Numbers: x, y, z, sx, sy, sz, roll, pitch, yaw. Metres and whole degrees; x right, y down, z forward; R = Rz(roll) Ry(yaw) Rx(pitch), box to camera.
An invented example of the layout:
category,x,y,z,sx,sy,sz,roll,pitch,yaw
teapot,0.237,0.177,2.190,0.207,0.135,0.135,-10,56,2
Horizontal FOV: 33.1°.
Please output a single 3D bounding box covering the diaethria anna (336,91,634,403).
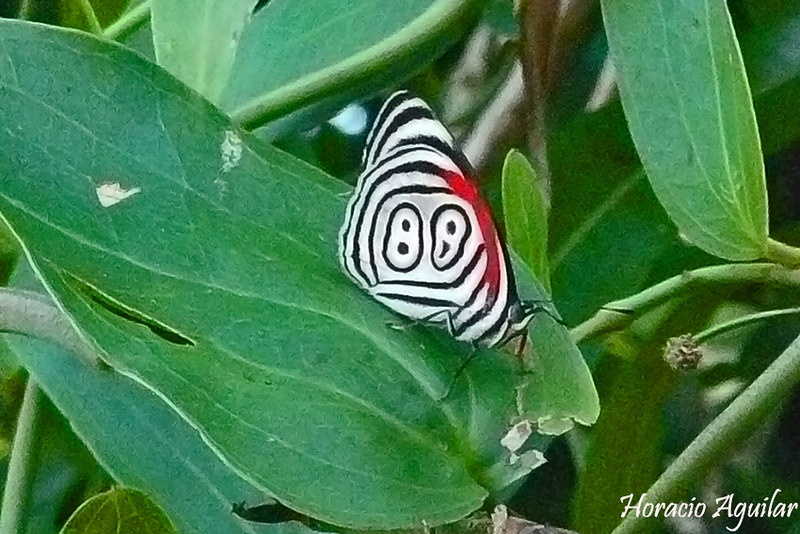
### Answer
category,x,y,z,sx,sy,sz,roll,pitch,yaw
diaethria anna,0.048,-0.020,1.245,0.129,0.252,0.283,11,11,-47
